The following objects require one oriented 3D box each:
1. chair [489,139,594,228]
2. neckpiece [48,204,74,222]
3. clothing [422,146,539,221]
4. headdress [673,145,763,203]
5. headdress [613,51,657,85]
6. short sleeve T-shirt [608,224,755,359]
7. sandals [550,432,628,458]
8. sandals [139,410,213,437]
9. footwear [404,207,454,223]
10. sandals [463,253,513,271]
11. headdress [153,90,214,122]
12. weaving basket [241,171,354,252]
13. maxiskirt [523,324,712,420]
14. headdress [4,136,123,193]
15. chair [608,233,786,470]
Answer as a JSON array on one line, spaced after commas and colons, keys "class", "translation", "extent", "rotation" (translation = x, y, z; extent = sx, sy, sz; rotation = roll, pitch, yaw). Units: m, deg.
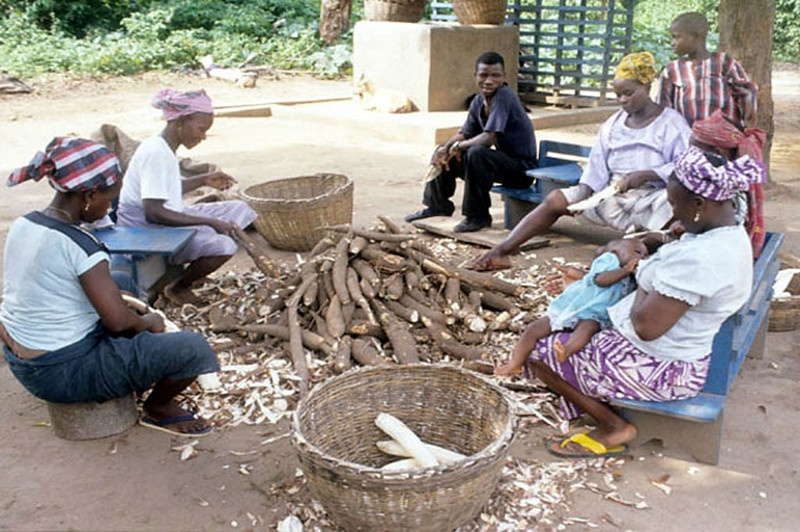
[{"class": "chair", "translation": [1.500, -0.881, 8.018], "extent": [1.129, 0.810, 0.766], "rotation": [15, 28, 35]}, {"class": "neckpiece", "translation": [-2.327, -0.346, 5.114], "extent": [0.169, 0.118, 0.081], "rotation": [4, 24, 12]}, {"class": "clothing", "translation": [0.759, -0.930, 8.432], "extent": [1.162, 0.583, 0.864], "rotation": [-19, 19, -29]}, {"class": "headdress", "translation": [1.989, -0.558, 4.864], "extent": [0.530, 0.221, 0.357], "rotation": [14, 48, 20]}, {"class": "headdress", "translation": [2.169, -1.824, 6.985], "extent": [0.331, 0.224, 0.361], "rotation": [-7, 17, -6]}, {"class": "short sleeve T-shirt", "translation": [1.851, 0.183, 4.973], "extent": [0.823, 0.924, 0.341], "rotation": [5, 26, 15]}, {"class": "sandals", "translation": [1.314, 1.240, 5.274], "extent": [0.477, 0.086, 0.196], "rotation": [1, 3, 4]}, {"class": "sandals", "translation": [-1.667, 1.165, 5.555], "extent": [0.485, 0.086, 0.196], "rotation": [5, 14, 8]}, {"class": "footwear", "translation": [0.315, -0.587, 8.745], "extent": [0.639, 0.161, 0.179], "rotation": [0, 9, -7]}, {"class": "sandals", "translation": [0.833, -0.043, 7.231], "extent": [0.400, 0.111, 0.183], "rotation": [2, 10, 6]}, {"class": "headdress", "translation": [-1.892, -1.394, 6.587], "extent": [0.440, 0.172, 0.338], "rotation": [-9, 27, -23]}, {"class": "weaving basket", "translation": [-1.057, -0.542, 8.091], "extent": [1.245, 0.520, 1.023], "rotation": [-5, 15, 4]}, {"class": "maxiskirt", "translation": [1.509, 0.719, 5.125], "extent": [1.049, 0.281, 0.528], "rotation": [5, 2, 13]}, {"class": "headdress", "translation": [-2.315, -0.703, 5.161], "extent": [0.659, 0.356, 0.323], "rotation": [7, 23, 21]}, {"class": "chair", "translation": [1.985, 0.620, 5.146], "extent": [0.635, 0.744, 1.866], "rotation": [19, 31, 40]}]
